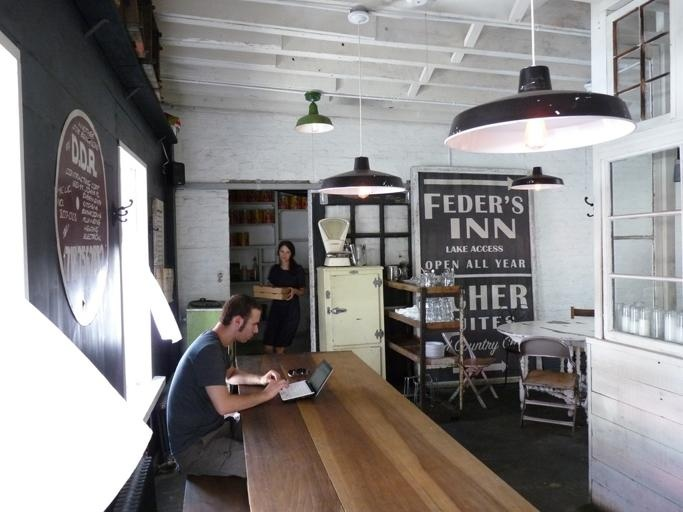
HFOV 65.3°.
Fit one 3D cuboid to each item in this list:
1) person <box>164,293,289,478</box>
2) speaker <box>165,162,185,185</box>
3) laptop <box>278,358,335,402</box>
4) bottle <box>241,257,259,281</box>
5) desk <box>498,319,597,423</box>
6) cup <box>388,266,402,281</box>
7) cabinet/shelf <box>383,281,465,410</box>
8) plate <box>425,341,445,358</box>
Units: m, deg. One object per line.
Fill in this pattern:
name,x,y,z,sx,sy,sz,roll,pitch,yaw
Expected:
person,-0.748,1.069,3.586,0.840,1.488,0.683,-2,-1,-20
speaker,-1.866,-0.941,6.048,0.213,0.255,0.146,-2,7,-24
laptop,-0.223,0.847,3.564,0.268,0.142,0.263,-16,-2,-1
bottle,-1.479,0.219,8.614,0.359,0.478,0.163,2,-9,-18
desk,2.279,1.205,5.844,1.103,0.663,1.098,-3,-11,15
cup,0.670,0.204,6.627,0.201,0.171,0.123,-4,8,-42
cabinet/shelf,0.934,1.001,5.952,0.469,1.219,1.448,0,-1,-4
plate,0.959,0.981,5.629,0.173,0.107,0.168,1,-3,-25
